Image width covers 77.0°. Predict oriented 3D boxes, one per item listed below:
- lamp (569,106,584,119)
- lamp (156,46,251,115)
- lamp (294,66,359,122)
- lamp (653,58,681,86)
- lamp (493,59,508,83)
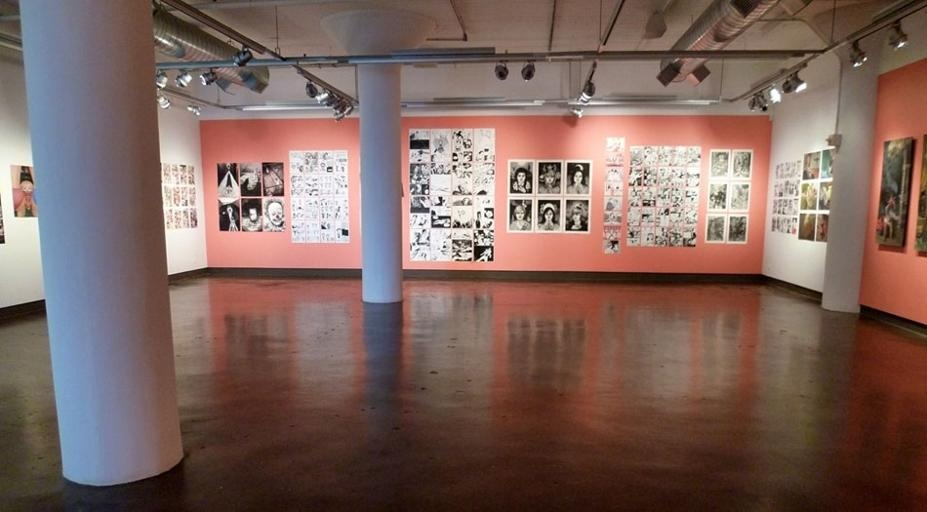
[{"bbox_3d":[3.081,-3.951,15.931,0.337,0.291,0.451,3,11,15],"label":"lamp"},{"bbox_3d":[-5.683,-4.243,13.653,2.059,1.115,4.331,-3,11,-17],"label":"lamp"},{"bbox_3d":[-3.366,-4.021,14.899,1.205,0.975,3.413,-2,11,-10],"label":"lamp"},{"bbox_3d":[4.684,-4.158,13.222,0.550,0.469,0.434,6,13,31],"label":"lamp"},{"bbox_3d":[0.804,-4.040,12.565,0.215,0.322,0.611,1,11,5],"label":"lamp"}]
